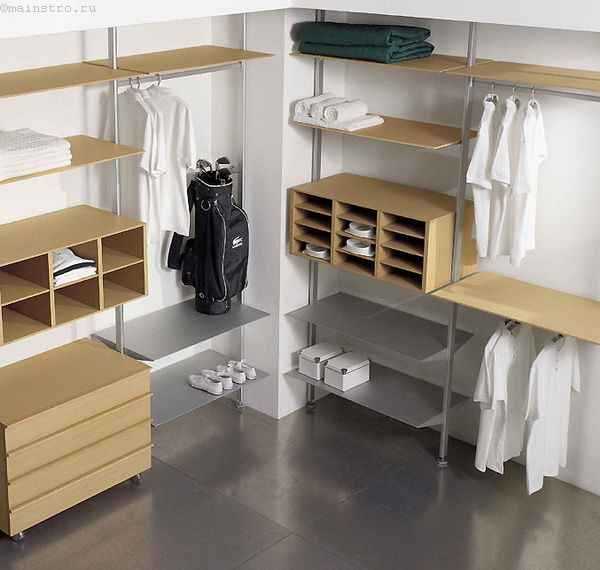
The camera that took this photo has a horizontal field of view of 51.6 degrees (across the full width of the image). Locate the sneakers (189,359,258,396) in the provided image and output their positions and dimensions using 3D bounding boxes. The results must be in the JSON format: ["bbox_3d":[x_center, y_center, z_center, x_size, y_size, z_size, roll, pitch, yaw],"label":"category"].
[{"bbox_3d":[-0.494,0.587,4.001,0.253,0.068,0.227,14,22,42],"label":"sneakers"}]
